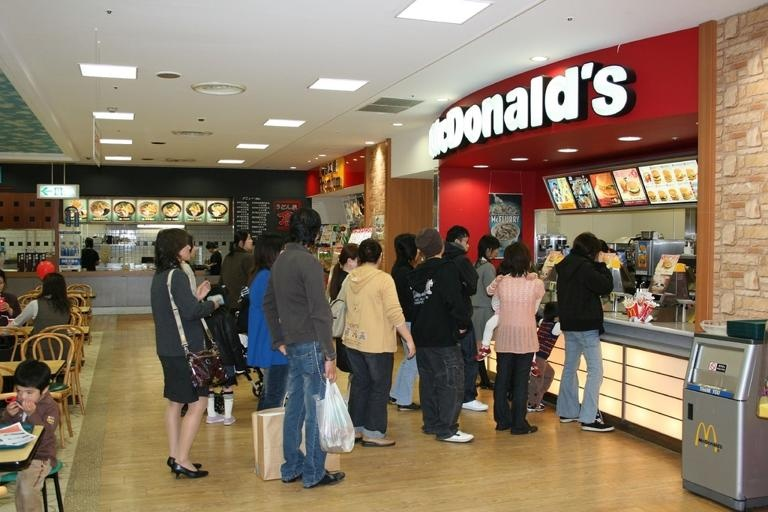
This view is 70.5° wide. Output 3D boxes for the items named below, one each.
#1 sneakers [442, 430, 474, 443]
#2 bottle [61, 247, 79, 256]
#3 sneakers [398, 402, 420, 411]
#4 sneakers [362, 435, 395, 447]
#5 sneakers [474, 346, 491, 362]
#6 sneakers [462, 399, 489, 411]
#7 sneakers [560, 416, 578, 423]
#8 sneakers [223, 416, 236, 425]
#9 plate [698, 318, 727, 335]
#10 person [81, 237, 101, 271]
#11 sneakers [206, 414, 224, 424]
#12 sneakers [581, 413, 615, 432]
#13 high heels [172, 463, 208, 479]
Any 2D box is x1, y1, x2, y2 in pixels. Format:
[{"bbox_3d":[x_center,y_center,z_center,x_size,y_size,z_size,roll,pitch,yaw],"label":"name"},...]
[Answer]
[{"bbox_3d":[0.756,1.819,5.492,0.318,0.129,0.120,-1,2,0],"label":"sneakers"},{"bbox_3d":[-8.038,-0.110,13.824,0.267,0.239,0.349,5,8,-2],"label":"bottle"},{"bbox_3d":[0.303,1.777,6.456,0.275,0.103,0.090,0,-2,-11],"label":"sneakers"},{"bbox_3d":[-0.060,1.835,5.403,0.277,0.108,0.123,-1,1,-10],"label":"sneakers"},{"bbox_3d":[1.085,1.087,6.025,0.135,0.148,0.358,-2,-8,32],"label":"sneakers"},{"bbox_3d":[1.082,1.746,6.440,0.366,0.140,0.139,0,-2,11],"label":"sneakers"},{"bbox_3d":[2.038,1.811,5.992,0.198,0.080,0.071,-1,5,-10],"label":"sneakers"},{"bbox_3d":[-1.708,1.813,5.966,0.055,0.061,0.151,1,3,9],"label":"sneakers"},{"bbox_3d":[2.772,0.602,4.560,0.224,0.084,0.219,2,-9,-1],"label":"plate"},{"bbox_3d":[-7.725,-0.057,14.131,0.404,0.769,0.720,-2,4,-29],"label":"person"},{"bbox_3d":[-1.872,1.795,6.046,0.219,0.090,0.079,-3,2,-28],"label":"sneakers"},{"bbox_3d":[2.293,1.789,5.850,0.363,0.216,0.142,0,-2,-4],"label":"sneakers"},{"bbox_3d":[-1.711,1.843,4.771,0.293,0.117,0.158,-2,1,-21],"label":"high heels"}]
